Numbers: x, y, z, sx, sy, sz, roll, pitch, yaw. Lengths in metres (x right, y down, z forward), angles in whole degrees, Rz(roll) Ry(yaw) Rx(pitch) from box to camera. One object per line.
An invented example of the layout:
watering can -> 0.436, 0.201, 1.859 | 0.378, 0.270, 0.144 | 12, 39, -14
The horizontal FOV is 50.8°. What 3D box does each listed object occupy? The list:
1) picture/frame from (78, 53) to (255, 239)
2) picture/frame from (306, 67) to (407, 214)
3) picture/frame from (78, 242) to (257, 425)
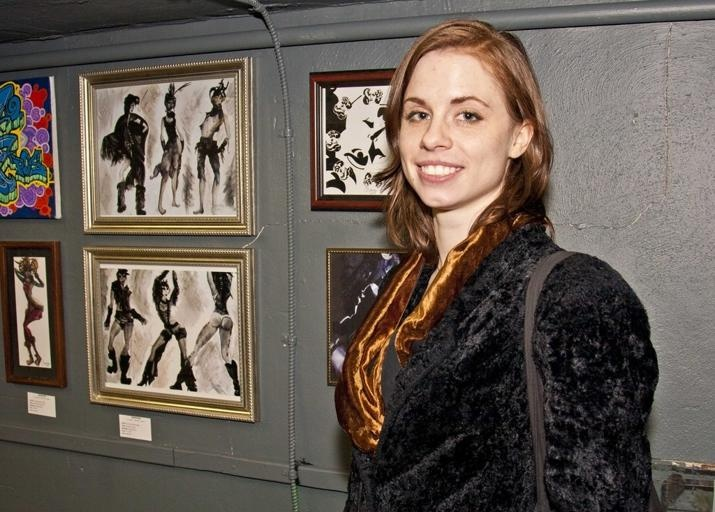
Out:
picture/frame -> -0.577, -0.362, 2.368 | 0.545, 0.496, 0.045 | 1, 3, 16
picture/frame -> 0.005, -0.342, 2.132 | 0.416, 0.522, 0.037 | 1, 4, 17
picture/frame -> -0.589, 0.236, 2.424 | 0.549, 0.500, 0.045 | 1, 4, 15
